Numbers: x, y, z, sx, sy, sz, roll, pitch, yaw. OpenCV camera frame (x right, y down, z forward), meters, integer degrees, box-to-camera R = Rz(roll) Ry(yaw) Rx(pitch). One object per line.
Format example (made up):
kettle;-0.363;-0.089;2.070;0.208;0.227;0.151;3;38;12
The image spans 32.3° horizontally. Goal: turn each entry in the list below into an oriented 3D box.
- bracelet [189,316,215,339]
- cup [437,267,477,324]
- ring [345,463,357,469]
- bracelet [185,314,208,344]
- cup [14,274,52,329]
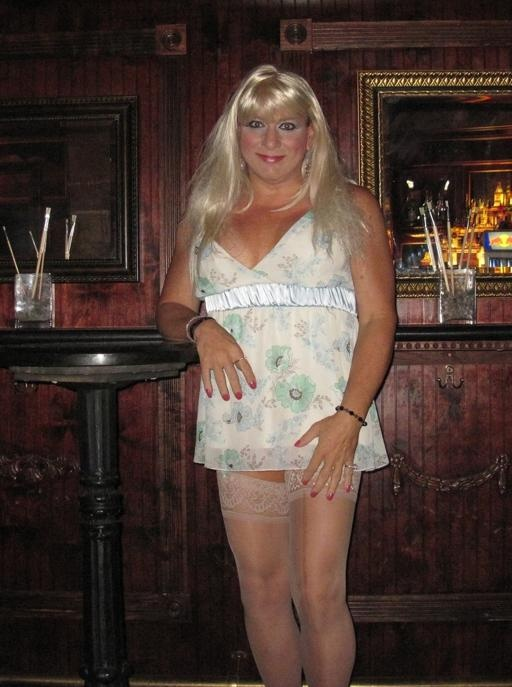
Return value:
bracelet;-0.137;-0.039;2.209;0.067;0.038;0.058;-1;-9;-5
cup;0.697;-0.166;3.049;0.111;0.188;0.091;-3;0;-17
ring;0.229;0.294;2.102;0.015;0.017;0.067;-2;0;20
bracelet;-0.151;-0.040;2.244;0.061;0.062;0.037;1;-8;-2
cup;-0.755;-0.147;3.018;0.129;0.185;0.094;-3;0;-13
